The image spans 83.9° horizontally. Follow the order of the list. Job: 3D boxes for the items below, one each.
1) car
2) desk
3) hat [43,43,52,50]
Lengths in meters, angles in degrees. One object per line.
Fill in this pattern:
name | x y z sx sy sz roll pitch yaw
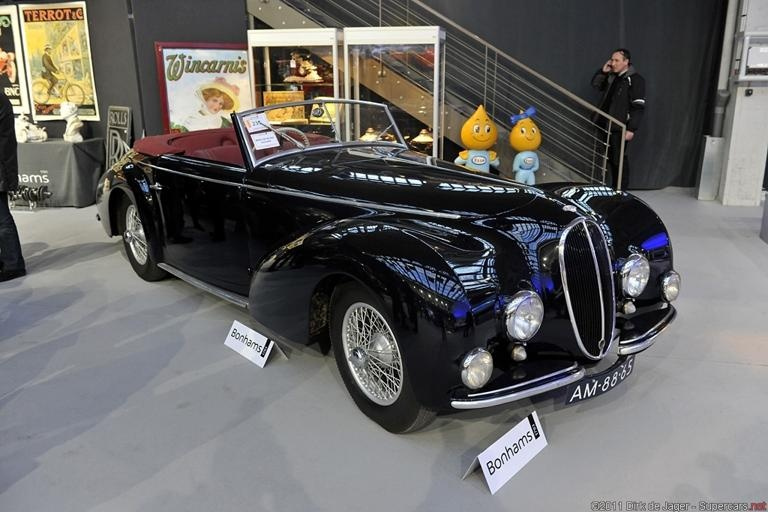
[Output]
car | -0.732 -0.230 3.695 4.862 1.573 2.074 18 29 39
desk | -5.346 -1.376 6.982 1.245 0.895 0.868 2 19 5
hat | -5.590 -3.439 7.037 0.163 0.094 0.032 5 22 19
